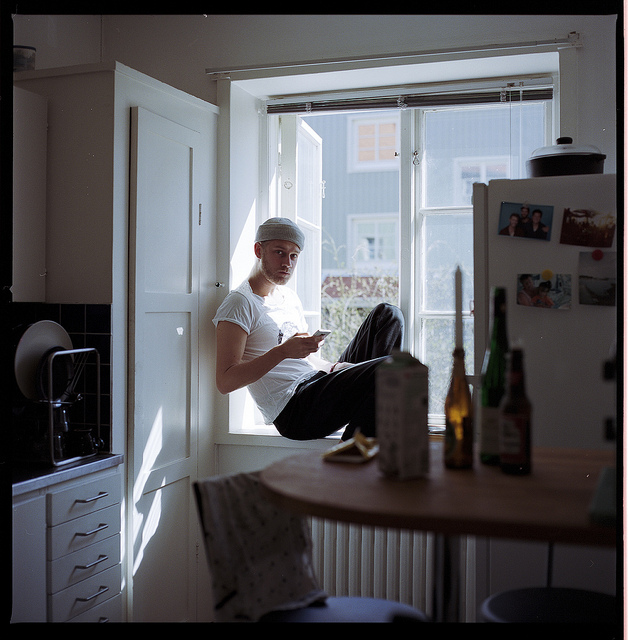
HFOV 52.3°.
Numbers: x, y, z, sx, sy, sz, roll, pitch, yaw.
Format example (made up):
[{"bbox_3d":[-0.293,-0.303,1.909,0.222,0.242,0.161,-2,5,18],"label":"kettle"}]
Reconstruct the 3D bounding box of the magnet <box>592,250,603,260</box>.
[{"bbox_3d":[0.632,-0.143,1.415,0.017,0.022,0.005,1,-1,6],"label":"magnet"}]

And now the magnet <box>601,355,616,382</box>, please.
[{"bbox_3d":[0.658,0.113,1.428,0.026,0.059,0.058,5,7,20],"label":"magnet"}]

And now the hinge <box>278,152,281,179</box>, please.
[{"bbox_3d":[-0.128,-0.573,2.371,0.012,0.091,0.006,2,6,-3],"label":"hinge"}]

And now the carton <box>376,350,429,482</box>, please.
[{"bbox_3d":[0.133,0.128,0.946,0.073,0.199,0.084,0,-3,13],"label":"carton"}]

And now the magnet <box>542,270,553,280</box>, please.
[{"bbox_3d":[0.528,-0.102,1.440,0.017,0.024,0.018,-10,11,-21],"label":"magnet"}]

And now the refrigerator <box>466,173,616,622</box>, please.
[{"bbox_3d":[0.525,0.219,1.467,0.371,1.108,0.271,3,6,8],"label":"refrigerator"}]

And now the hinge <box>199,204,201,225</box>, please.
[{"bbox_3d":[-0.366,-0.338,2.049,0.004,0.059,0.011,4,6,14],"label":"hinge"}]
